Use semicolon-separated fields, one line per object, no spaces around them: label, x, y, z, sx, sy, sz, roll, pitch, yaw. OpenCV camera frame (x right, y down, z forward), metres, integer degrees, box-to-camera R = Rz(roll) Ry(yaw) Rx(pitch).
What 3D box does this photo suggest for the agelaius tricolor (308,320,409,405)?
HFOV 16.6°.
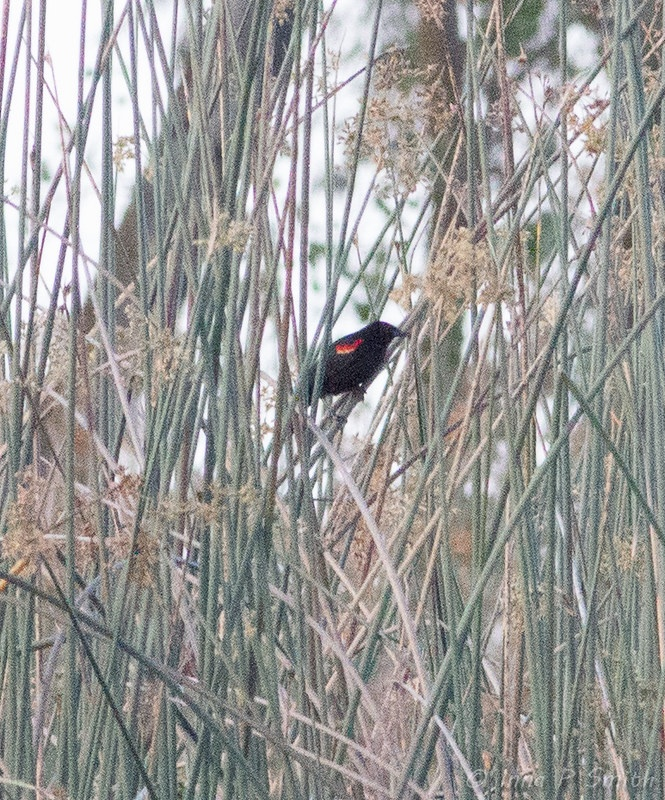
agelaius tricolor;0.013;-0.049;3.521;0.183;0.134;0.075;-2;-14;13
